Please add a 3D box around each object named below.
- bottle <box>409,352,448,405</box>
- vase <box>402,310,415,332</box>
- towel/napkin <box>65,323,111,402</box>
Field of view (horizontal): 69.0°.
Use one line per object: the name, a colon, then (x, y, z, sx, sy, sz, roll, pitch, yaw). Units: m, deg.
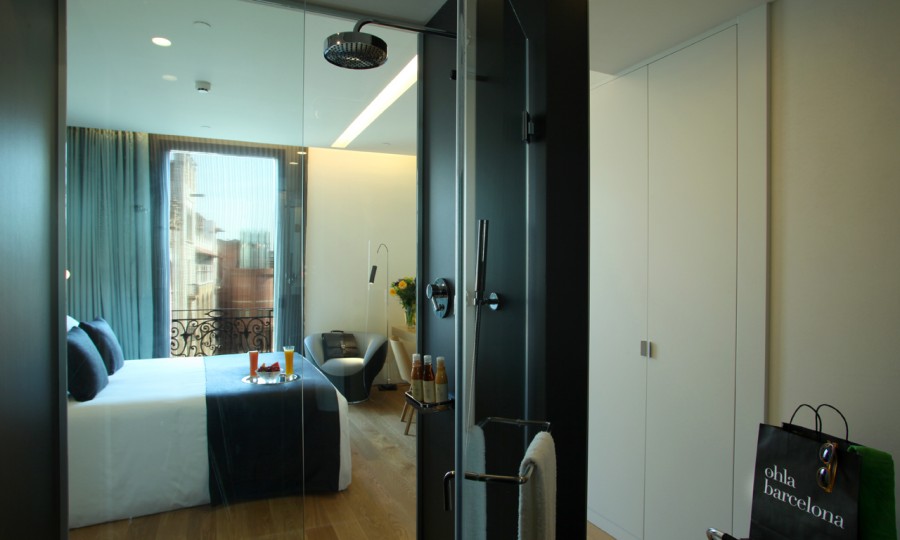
bottle: (-0.122, 0.559, 3.326, 0.254, 0.353, 0.103, 1, -4, -22)
vase: (-0.204, 0.265, 3.333, 0.084, 0.138, 0.082, 0, -5, 0)
towel/napkin: (-1.701, 0.437, 3.072, 0.160, 0.345, 0.048, -1, 3, -26)
